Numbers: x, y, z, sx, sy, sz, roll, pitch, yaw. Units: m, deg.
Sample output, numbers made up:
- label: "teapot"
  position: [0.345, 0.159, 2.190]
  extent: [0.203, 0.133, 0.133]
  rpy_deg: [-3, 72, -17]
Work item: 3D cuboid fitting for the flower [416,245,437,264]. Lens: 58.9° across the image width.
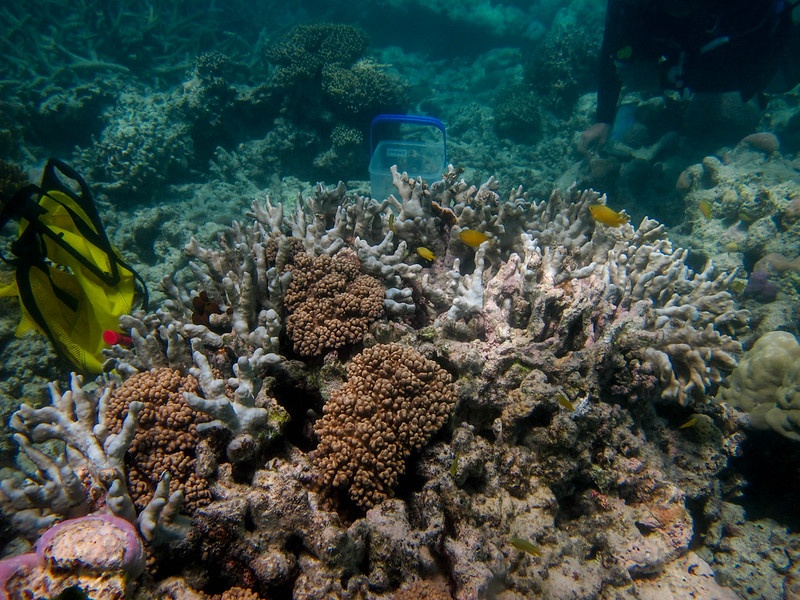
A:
- label: "flower"
  position: [0.468, -0.809, 12.217]
  extent: [0.293, 0.550, 0.158]
  rpy_deg: [-23, 63, 23]
